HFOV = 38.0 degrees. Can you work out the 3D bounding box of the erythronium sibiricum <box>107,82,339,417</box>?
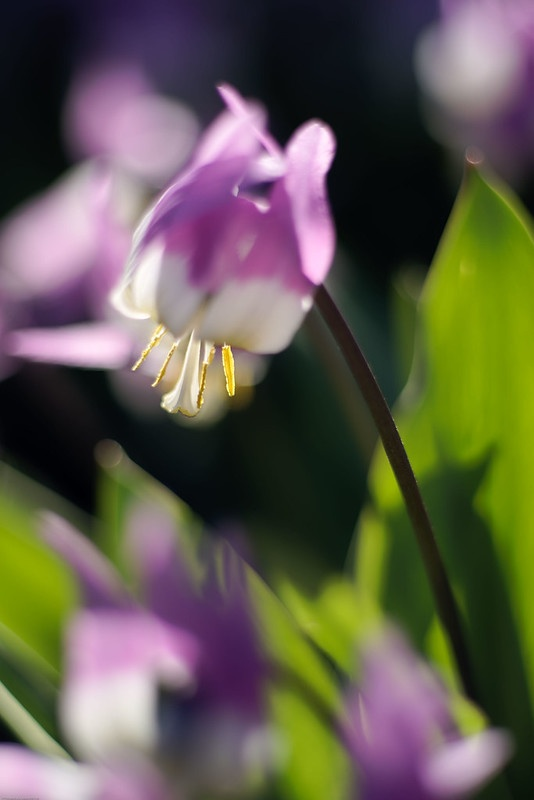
[{"bbox_3d":[-0.013,-0.072,0.313,0.085,0.068,0.087,-32,52,-21],"label":"erythronium sibiricum"}]
